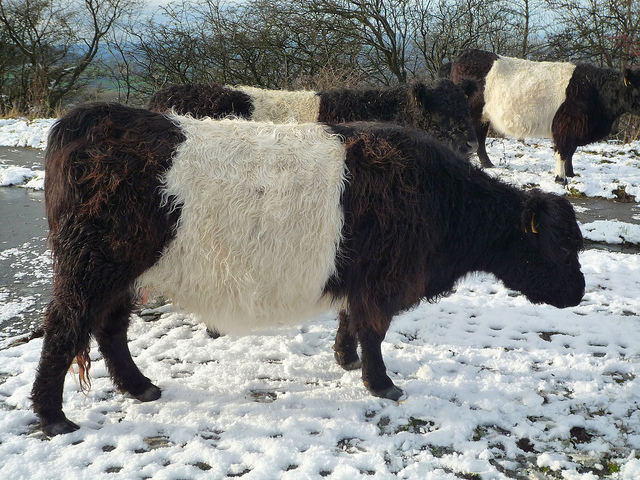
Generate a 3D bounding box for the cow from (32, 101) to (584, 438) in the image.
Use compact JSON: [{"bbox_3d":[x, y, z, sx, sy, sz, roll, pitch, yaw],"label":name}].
[{"bbox_3d":[-0.180,0.406,6.372,3.605,1.835,1.014,0,-4,-5],"label":"cow"}]
